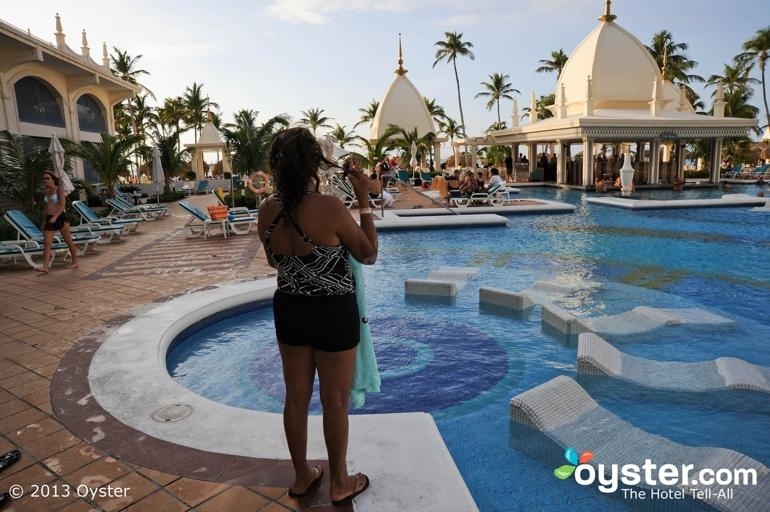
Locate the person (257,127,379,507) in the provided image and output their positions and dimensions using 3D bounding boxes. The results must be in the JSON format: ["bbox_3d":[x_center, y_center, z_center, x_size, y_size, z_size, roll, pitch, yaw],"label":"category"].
[{"bbox_3d":[-0.411,0.409,2.621,0.721,2.353,0.517,-1,15,1],"label":"person"}]

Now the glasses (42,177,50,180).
[{"bbox_3d":[-7.050,-1.613,8.654,0.134,0.094,0.050,4,16,20],"label":"glasses"}]

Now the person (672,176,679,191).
[{"bbox_3d":[17.635,-4.315,25.131,0.293,0.693,0.890,8,17,30],"label":"person"}]
